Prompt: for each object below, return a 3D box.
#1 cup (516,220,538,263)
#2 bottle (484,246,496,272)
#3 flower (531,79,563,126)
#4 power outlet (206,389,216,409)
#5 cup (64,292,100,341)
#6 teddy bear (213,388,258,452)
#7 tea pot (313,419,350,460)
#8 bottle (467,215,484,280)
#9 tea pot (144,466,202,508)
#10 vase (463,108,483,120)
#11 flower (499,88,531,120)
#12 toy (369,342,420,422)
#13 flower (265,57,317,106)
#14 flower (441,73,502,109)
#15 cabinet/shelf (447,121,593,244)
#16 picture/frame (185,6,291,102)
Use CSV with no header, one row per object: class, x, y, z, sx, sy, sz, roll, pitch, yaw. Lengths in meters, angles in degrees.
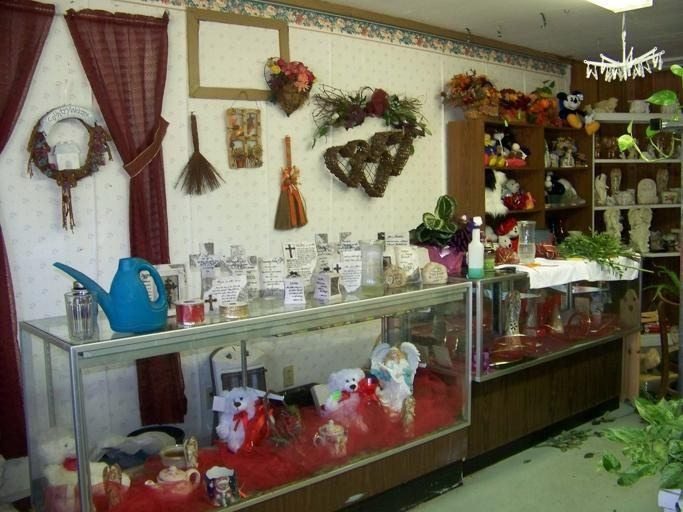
cup,1.310,-0.109,3.876,0.112,0.282,0.217,2,9,16
bottle,0.975,0.015,3.613,0.063,0.147,0.116,1,9,14
flower,2.014,-1.522,5.309,0.244,0.486,0.754,3,10,22
power outlet,-0.604,0.656,2.531,0.041,0.083,0.017,-3,9,-15
cup,-1.088,0.231,2.282,0.115,0.191,0.195,-6,10,-27
teddy bear,-0.493,0.759,2.560,0.201,0.269,0.112,-4,9,-19
tea pot,-0.047,0.906,2.791,0.199,0.193,0.144,-4,7,-28
bottle,0.855,-0.069,3.476,0.103,0.358,0.346,1,9,14
tea pot,-0.737,1.011,2.390,0.195,0.109,0.128,8,-10,-23
vase,1.097,-1.198,4.589,0.092,0.071,0.114,1,10,-5
flower,1.503,-1.343,4.819,0.152,0.274,0.517,5,11,35
toy,0.287,0.670,3.027,0.343,0.394,0.158,3,-2,-16
flower,-0.337,-1.174,3.744,0.340,0.331,0.313,2,7,6
flower,1.052,-1.316,4.509,0.363,0.217,0.364,4,12,12
cabinet/shelf,1.743,-0.688,5.117,1.291,1.062,0.346,6,-15,-24
picture/frame,-0.716,-1.333,3.610,0.738,0.522,0.055,-3,5,-34
